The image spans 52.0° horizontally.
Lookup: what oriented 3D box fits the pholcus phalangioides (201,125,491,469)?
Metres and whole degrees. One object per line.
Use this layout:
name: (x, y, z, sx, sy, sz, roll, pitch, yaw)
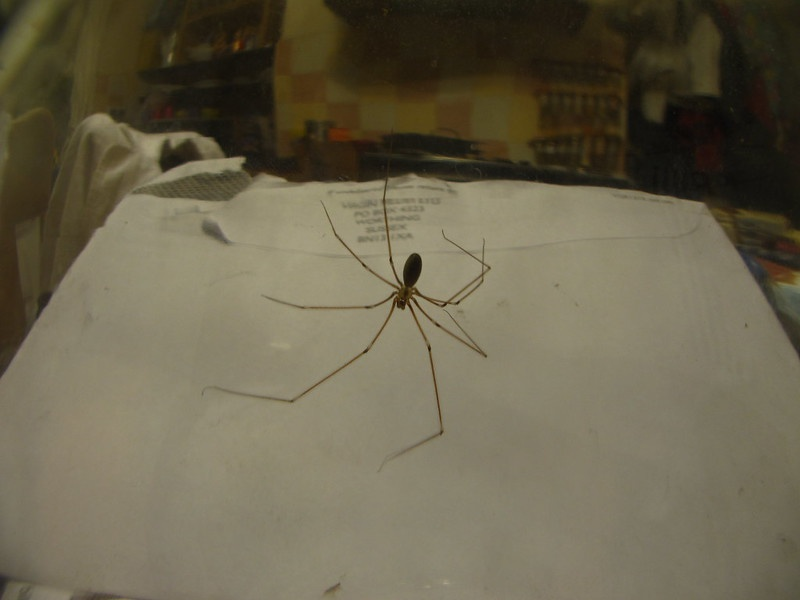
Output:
pholcus phalangioides: (-0.033, 0.083, 1.427, 0.492, 0.068, 0.495, 28, 74, 9)
